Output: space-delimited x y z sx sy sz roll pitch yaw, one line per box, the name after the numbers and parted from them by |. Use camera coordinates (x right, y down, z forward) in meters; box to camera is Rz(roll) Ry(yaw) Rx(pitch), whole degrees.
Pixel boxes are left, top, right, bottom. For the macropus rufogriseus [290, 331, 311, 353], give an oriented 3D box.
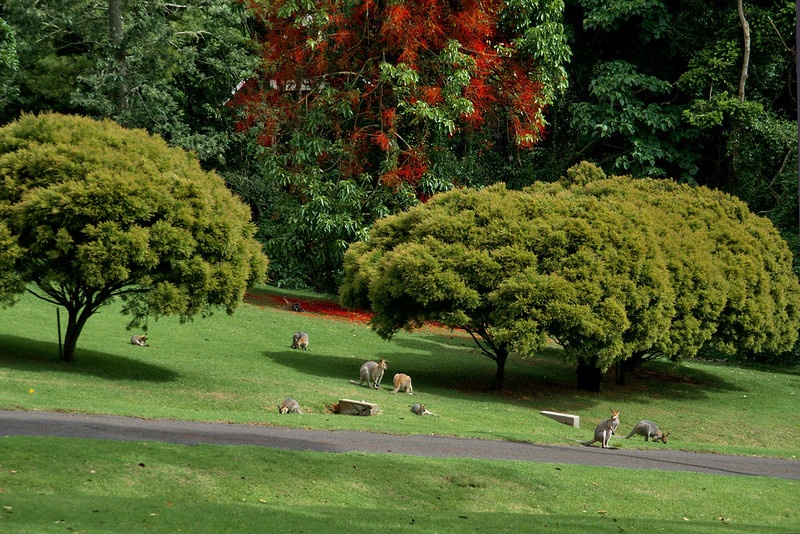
-3.820 2.867 59.589 0.342 0.584 1.086 5 -17 -19 | macropus rufogriseus

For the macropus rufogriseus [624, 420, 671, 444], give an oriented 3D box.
8.719 5.813 54.217 1.470 0.745 0.669 -1 -12 24 | macropus rufogriseus

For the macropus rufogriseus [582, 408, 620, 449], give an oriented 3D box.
6.867 5.651 52.893 0.534 1.245 1.989 23 -33 -37 | macropus rufogriseus

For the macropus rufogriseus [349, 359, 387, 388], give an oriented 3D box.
-1.054 3.919 56.454 0.945 1.124 1.810 4 -12 -3 | macropus rufogriseus

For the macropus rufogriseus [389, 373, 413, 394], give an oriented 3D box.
0.148 4.228 56.169 0.777 0.868 0.901 4 -11 1 | macropus rufogriseus

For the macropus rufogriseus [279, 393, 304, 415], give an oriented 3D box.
-3.729 4.752 52.715 0.810 0.595 0.623 5 -11 -6 | macropus rufogriseus
